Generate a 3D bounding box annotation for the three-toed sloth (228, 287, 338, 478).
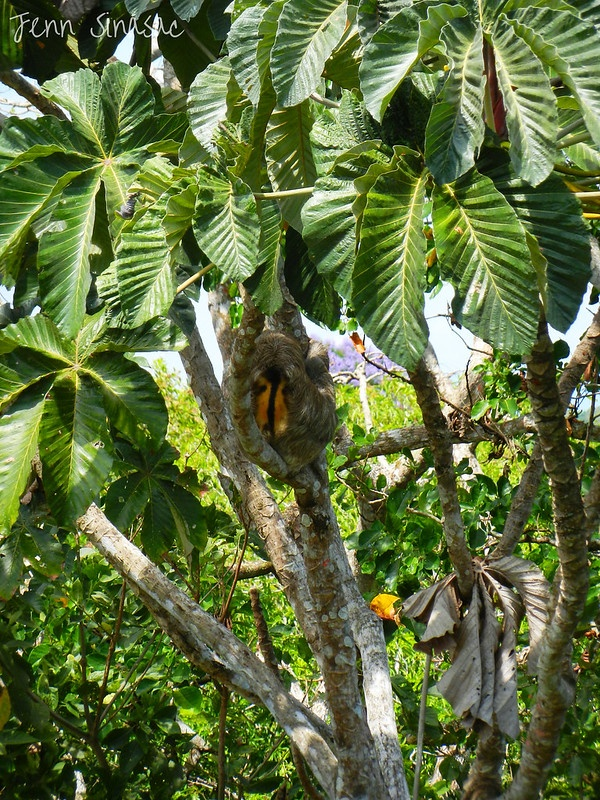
[{"bbox_3d":[-0.062,-0.027,4.276,0.262,0.249,0.491,1,-68,15],"label":"three-toed sloth"}]
